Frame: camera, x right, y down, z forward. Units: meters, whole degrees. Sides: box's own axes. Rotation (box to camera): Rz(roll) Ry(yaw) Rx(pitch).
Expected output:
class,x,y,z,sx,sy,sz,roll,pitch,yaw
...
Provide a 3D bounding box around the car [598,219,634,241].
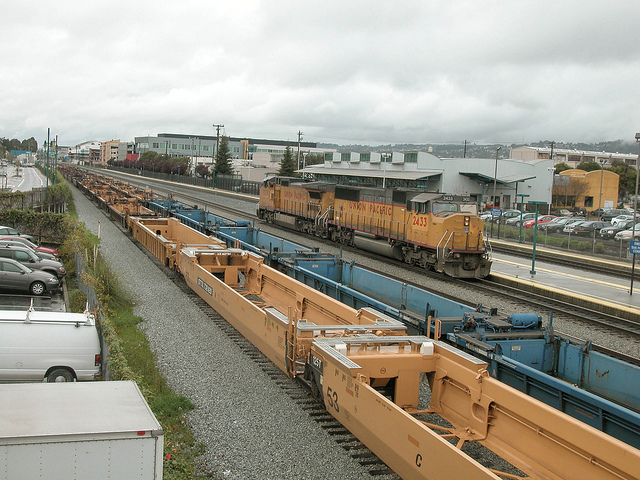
class,x,y,z,sx,sy,sz,roll,pitch,yaw
car,27.199,-0.836,44.319,4.482,1.625,1.996,-5,4,-23

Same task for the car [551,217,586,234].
class,x,y,z,sx,sy,sz,roll,pitch,yaw
car,24.626,-1.338,47.889,3.487,1.239,1.524,-4,5,-14

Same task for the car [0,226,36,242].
class,x,y,z,sx,sy,sz,roll,pitch,yaw
car,-18.059,-0.266,28.663,1.836,0.676,0.878,-1,18,-20

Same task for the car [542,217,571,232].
class,x,y,z,sx,sy,sz,roll,pitch,yaw
car,24.122,-1.487,49.101,3.891,1.418,1.582,-4,6,-15

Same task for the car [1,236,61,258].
class,x,y,z,sx,sy,sz,roll,pitch,yaw
car,-15.933,0.339,26.367,2.945,1.092,1.321,2,19,-3

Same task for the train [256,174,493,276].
class,x,y,z,sx,sy,sz,roll,pitch,yaw
train,3.071,-0.998,31.737,4.855,4.585,23.899,-7,15,-33
